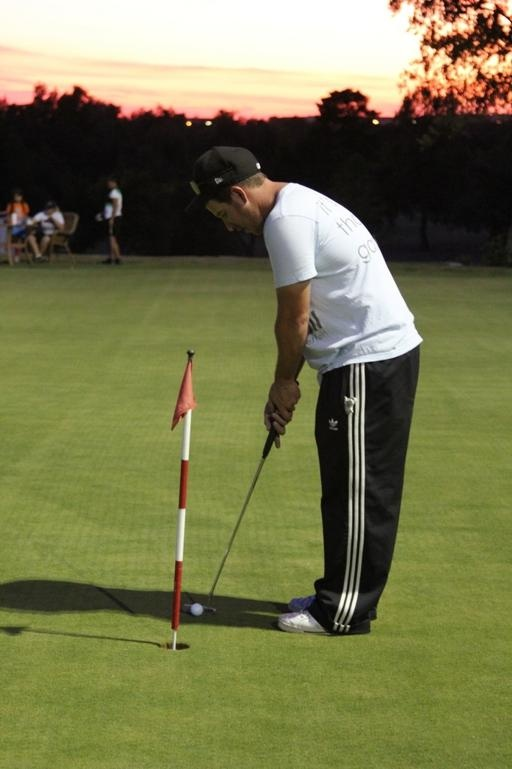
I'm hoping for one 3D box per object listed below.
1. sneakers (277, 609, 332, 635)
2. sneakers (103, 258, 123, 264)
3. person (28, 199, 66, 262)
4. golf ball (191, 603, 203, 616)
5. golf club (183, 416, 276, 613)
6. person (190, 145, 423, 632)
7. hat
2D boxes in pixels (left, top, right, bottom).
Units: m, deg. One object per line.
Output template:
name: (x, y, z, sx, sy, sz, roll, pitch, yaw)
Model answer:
sneakers: (0.149, 0.761, 3.518, 0.186, 0.067, 0.065, 7, 0, 7)
sneakers: (-3.364, -2.871, 25.318, 0.470, 0.176, 0.155, 6, 10, 24)
person: (-4.742, -3.443, 24.519, 0.817, 1.280, 1.791, 0, 8, -10)
golf ball: (-0.203, 0.757, 3.658, 0.030, 0.031, 0.041, 40, -23, 8)
golf club: (-0.030, 0.487, 3.898, 0.220, 0.759, 0.087, 17, -14, 43)
person: (0.174, 0.028, 3.468, 0.672, 1.540, 0.342, 2, 9, 6)
hat: (-0.116, -0.670, 3.443, 0.298, 0.153, 0.192, -22, 21, -4)
